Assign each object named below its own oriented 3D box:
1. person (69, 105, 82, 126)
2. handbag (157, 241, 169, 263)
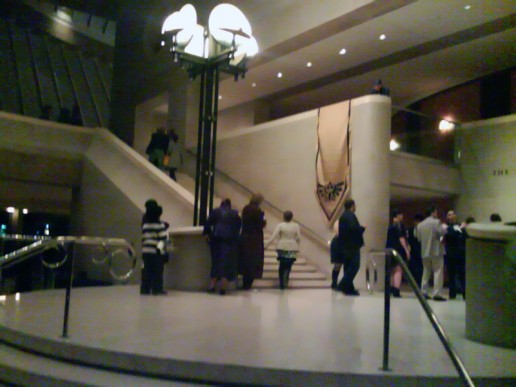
[{"bbox_3d":[-5.546,-2.344,12.523,0.359,0.533,1.194,1,20,-16],"label":"person"},{"bbox_3d":[-1.606,0.984,7.069,0.081,0.322,0.224,-13,33,-14],"label":"handbag"}]
